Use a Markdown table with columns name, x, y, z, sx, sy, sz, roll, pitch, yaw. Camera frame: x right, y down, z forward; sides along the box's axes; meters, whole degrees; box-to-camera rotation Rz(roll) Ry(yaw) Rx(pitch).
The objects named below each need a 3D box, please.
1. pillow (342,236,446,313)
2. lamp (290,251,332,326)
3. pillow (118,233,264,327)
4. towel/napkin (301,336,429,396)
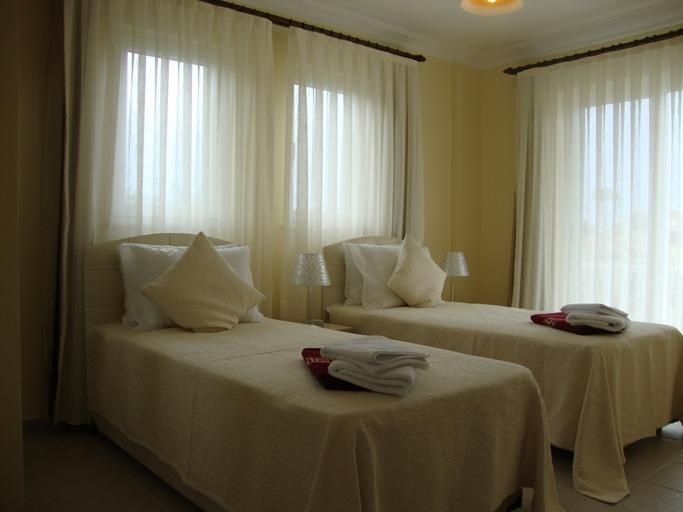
| name | x | y | z | sx | sy | sz | roll | pitch | yaw |
| --- | --- | --- | --- | --- | --- | --- | --- | --- | --- |
| pillow | 0.445 | 0.166 | 4.691 | 0.662 | 0.649 | 0.245 | 6 | -16 | -23 |
| lamp | -0.250 | 0.251 | 4.365 | 0.297 | 0.591 | 0.289 | 0 | 5 | -25 |
| pillow | -1.209 | 0.114 | 3.606 | 0.679 | 0.690 | 0.199 | -1 | -18 | -40 |
| towel/napkin | 0.094 | 0.474 | 2.538 | 0.605 | 0.171 | 0.413 | 2 | 7 | 11 |
